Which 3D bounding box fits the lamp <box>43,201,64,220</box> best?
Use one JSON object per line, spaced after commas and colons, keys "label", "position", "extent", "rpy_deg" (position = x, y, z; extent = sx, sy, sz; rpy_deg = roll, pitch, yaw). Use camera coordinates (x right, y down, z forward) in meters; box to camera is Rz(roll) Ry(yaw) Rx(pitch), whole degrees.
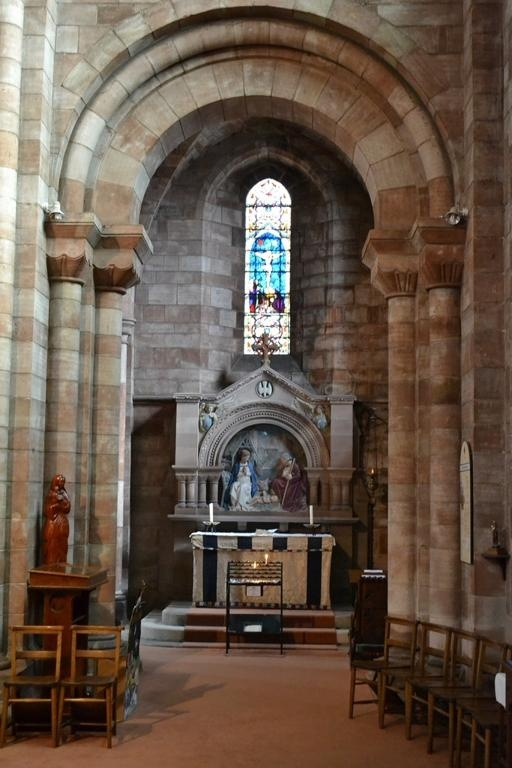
{"label": "lamp", "position": [-1.642, -1.399, 7.661], "extent": [0.161, 0.167, 0.122], "rpy_deg": [-2, -6, 15]}

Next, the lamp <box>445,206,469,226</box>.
{"label": "lamp", "position": [1.571, -1.293, 7.390], "extent": [0.132, 0.141, 0.050], "rpy_deg": [17, 6, 25]}
